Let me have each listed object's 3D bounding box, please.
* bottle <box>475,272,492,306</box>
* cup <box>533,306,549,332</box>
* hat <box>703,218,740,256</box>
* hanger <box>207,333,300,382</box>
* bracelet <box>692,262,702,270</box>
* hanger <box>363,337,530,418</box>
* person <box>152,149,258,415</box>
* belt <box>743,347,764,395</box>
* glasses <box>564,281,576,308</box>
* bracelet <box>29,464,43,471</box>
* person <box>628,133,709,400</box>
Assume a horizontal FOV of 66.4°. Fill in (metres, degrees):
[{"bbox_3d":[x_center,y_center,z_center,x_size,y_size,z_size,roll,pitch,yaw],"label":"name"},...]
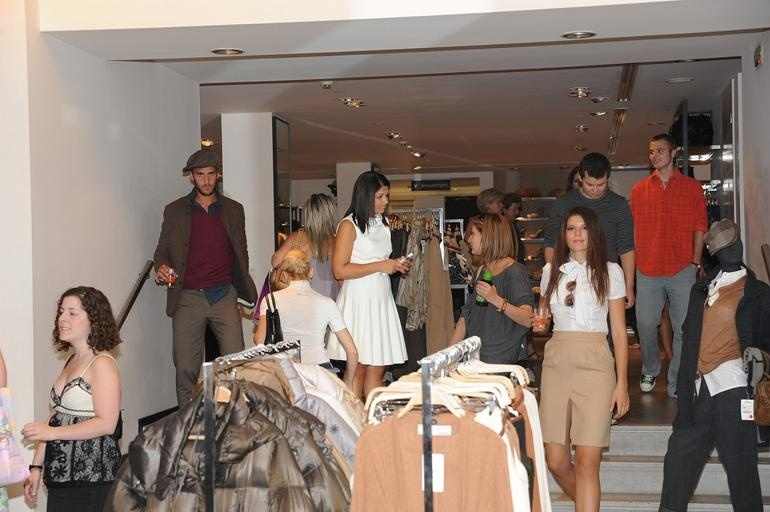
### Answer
[{"bbox_3d":[0.749,0.250,4.453,0.129,0.260,0.273,1,3,10],"label":"bottle"},{"bbox_3d":[1.076,0.444,4.051,0.115,0.210,0.236,1,3,16],"label":"cup"},{"bbox_3d":[2.390,-0.130,4.167,0.206,0.249,0.159,1,3,29],"label":"hat"},{"bbox_3d":[-0.747,0.606,3.366,0.249,0.150,0.860,1,3,21],"label":"hanger"},{"bbox_3d":[3.148,0.104,5.934,0.069,0.047,0.095,3,-29,4],"label":"bracelet"},{"bbox_3d":[0.346,0.667,3.099,0.503,0.220,0.718,-8,-4,22],"label":"hanger"},{"bbox_3d":[-1.698,0.427,5.518,0.926,2.771,0.861,1,10,-13],"label":"person"},{"bbox_3d":[2.470,0.766,3.930,0.166,0.232,0.085,0,1,41],"label":"belt"},{"bbox_3d":[1.283,0.260,4.051,0.059,0.148,0.108,9,-5,-29],"label":"glasses"},{"bbox_3d":[-2.178,1.307,3.655,0.054,0.027,0.055,3,-2,4],"label":"bracelet"},{"bbox_3d":[2.895,0.143,6.109,0.857,2.697,0.702,-1,9,24],"label":"person"}]
